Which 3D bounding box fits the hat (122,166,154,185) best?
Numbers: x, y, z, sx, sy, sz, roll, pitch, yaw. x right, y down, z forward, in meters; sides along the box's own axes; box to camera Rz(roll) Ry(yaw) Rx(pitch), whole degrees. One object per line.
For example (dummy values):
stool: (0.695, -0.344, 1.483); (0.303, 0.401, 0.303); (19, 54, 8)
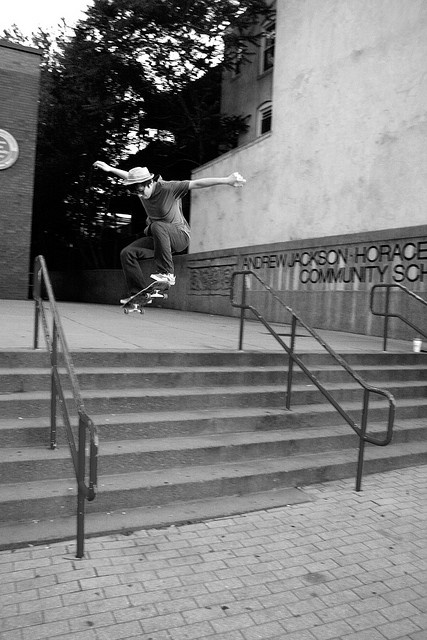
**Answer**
hat: (-0.930, -1.763, 7.691); (0.276, 0.107, 0.252); (-27, 29, 2)
